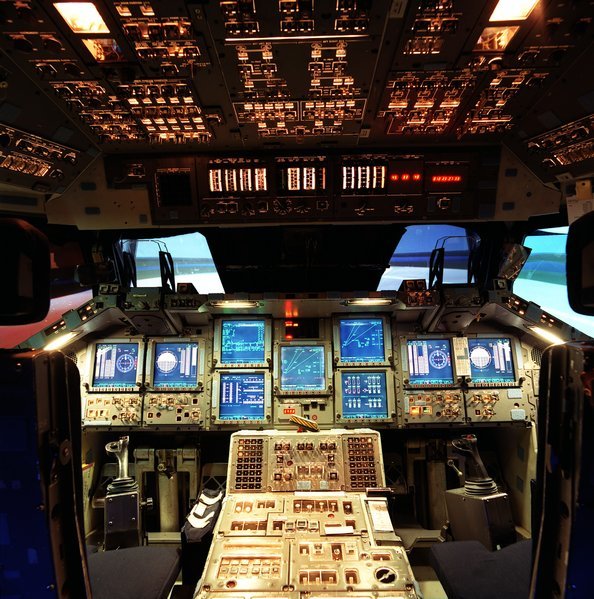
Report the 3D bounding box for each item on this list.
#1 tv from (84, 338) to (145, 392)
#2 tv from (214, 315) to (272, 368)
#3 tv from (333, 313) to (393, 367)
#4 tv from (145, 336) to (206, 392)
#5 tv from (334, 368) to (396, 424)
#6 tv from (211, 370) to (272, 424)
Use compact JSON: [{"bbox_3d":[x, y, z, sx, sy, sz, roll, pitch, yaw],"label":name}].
[{"bbox_3d":[-1.763,0.650,4.666,0.639,0.512,0.059,-1,-24,1],"label":"tv"},{"bbox_3d":[-0.522,0.427,4.697,0.575,0.431,0.247,0,-16,1],"label":"tv"},{"bbox_3d":[0.643,0.408,4.686,0.644,0.488,0.109,0,-25,2],"label":"tv"},{"bbox_3d":[-1.156,0.643,4.666,0.625,0.456,0.109,0,-20,0],"label":"tv"},{"bbox_3d":[0.636,0.928,4.522,0.581,0.432,0.181,0,-17,2],"label":"tv"},{"bbox_3d":[-0.516,0.936,4.535,0.571,0.429,0.190,1,-11,0],"label":"tv"}]
